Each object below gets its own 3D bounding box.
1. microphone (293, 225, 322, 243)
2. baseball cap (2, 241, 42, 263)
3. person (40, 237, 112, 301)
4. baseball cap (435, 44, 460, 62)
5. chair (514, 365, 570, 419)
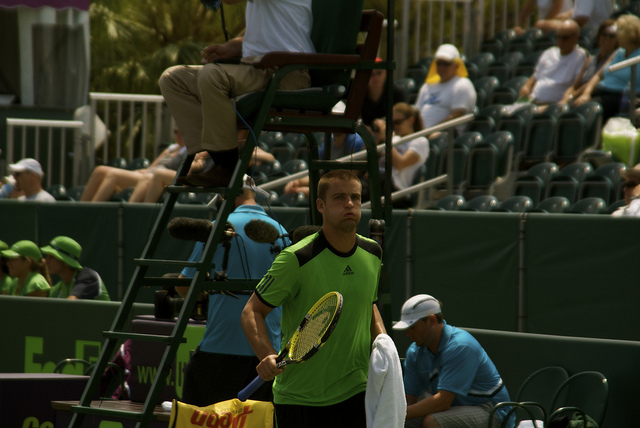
[{"bbox_3d":[-0.200,0.249,17.698,0.215,0.202,0.269,-1,-6,-7],"label":"microphone"},{"bbox_3d":[-4.726,0.566,21.480,0.422,0.258,0.298,12,-3,-23],"label":"baseball cap"},{"bbox_3d":[-3.899,0.918,21.211,1.058,1.010,0.601,9,9,20],"label":"person"},{"bbox_3d":[2.289,-2.868,24.033,0.393,0.287,0.334,7,9,4],"label":"baseball cap"},{"bbox_3d":[3.129,2.472,19.115,0.658,1.085,0.701,-1,9,-19],"label":"chair"}]
